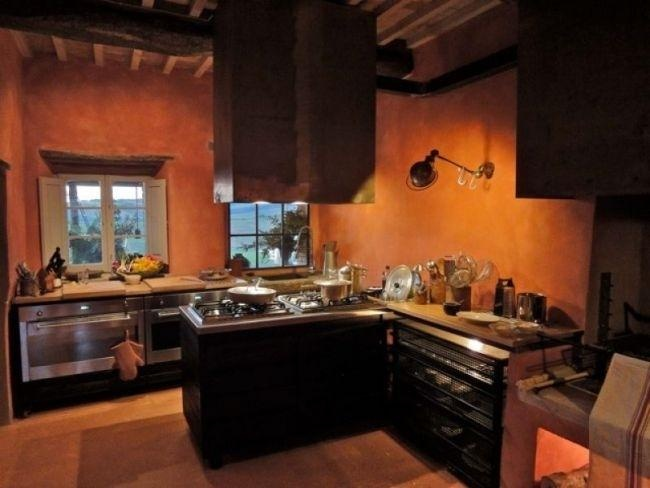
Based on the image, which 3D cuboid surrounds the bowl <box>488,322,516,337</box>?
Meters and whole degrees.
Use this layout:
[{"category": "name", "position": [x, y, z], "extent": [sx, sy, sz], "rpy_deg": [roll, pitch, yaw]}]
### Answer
[{"category": "bowl", "position": [1.314, 0.621, 3.768], "extent": [0.156, 0.062, 0.204], "rpy_deg": [-3, 14, -13]}]

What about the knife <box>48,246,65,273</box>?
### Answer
[{"category": "knife", "position": [-2.796, 0.166, 5.329], "extent": [0.149, 0.310, 0.326], "rpy_deg": [-7, 15, -25]}]

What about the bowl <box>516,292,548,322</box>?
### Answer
[{"category": "bowl", "position": [1.604, 0.488, 3.953], "extent": [0.236, 0.211, 0.184], "rpy_deg": [3, 2, 43]}]

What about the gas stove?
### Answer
[{"category": "gas stove", "position": [-0.363, 0.510, 4.440], "extent": [1.530, 0.117, 0.561], "rpy_deg": [-5, 14, -18]}]

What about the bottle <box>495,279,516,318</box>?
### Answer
[{"category": "bottle", "position": [1.488, 0.430, 4.171], "extent": [0.175, 0.272, 0.256], "rpy_deg": [9, 16, 34]}]

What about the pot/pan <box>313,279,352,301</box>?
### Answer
[{"category": "pot/pan", "position": [0.091, 0.403, 4.533], "extent": [0.189, 0.104, 0.204], "rpy_deg": [-2, 4, -21]}]

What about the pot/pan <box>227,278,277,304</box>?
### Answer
[{"category": "pot/pan", "position": [-0.626, 0.429, 4.389], "extent": [0.321, 0.179, 0.335], "rpy_deg": [-11, 17, -38]}]

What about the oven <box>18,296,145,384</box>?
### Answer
[{"category": "oven", "position": [-2.411, 0.909, 4.945], "extent": [1.039, 0.703, 0.688], "rpy_deg": [0, -1, -32]}]

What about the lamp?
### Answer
[{"category": "lamp", "position": [1.092, -0.655, 4.706], "extent": [0.373, 0.418, 0.887], "rpy_deg": [-10, 16, -34]}]

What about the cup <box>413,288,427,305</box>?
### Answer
[{"category": "cup", "position": [0.857, 0.473, 4.605], "extent": [0.128, 0.129, 0.115], "rpy_deg": [0, 3, -4]}]
